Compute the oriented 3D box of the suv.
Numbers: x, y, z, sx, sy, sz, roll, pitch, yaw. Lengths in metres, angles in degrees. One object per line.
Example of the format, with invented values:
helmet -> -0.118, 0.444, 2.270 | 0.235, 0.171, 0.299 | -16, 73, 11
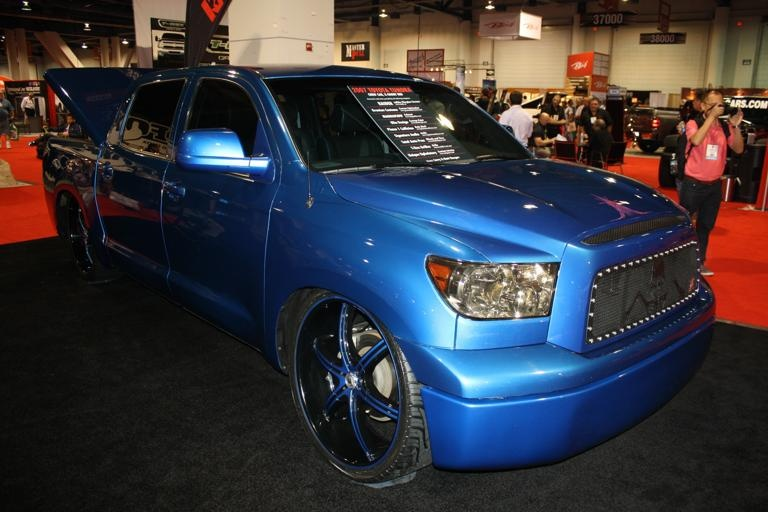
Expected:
suv -> -0.581, -0.143, 3.782 | 4.768, 1.646, 2.454 | 18, 24, 41
